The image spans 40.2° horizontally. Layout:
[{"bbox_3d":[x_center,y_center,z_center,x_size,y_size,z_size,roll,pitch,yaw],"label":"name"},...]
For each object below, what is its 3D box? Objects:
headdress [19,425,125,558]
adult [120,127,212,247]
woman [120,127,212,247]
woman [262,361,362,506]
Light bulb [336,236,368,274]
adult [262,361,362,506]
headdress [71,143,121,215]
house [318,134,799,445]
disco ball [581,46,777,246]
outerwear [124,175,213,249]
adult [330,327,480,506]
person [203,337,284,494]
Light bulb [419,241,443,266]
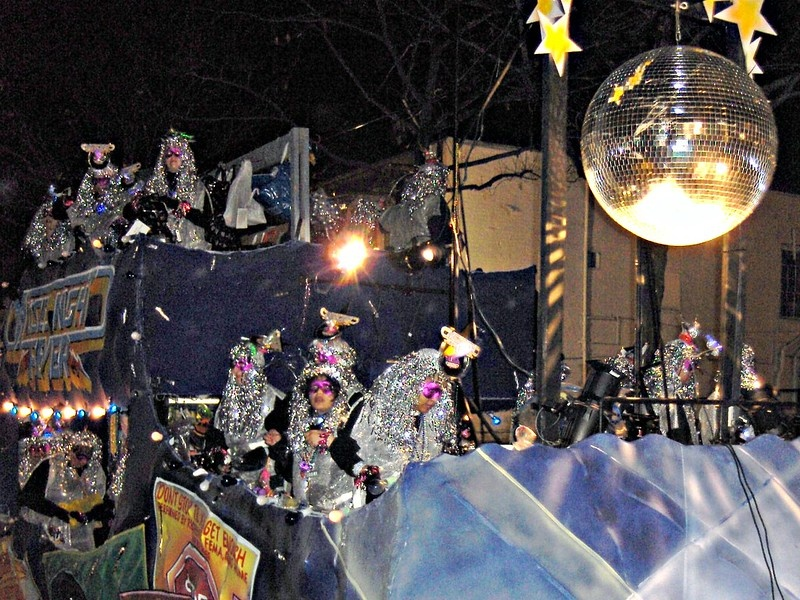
[{"bbox_3d":[-3.602,2.112,11.757,0.917,1.471,0.813,-2,-42,-18],"label":"headdress"},{"bbox_3d":[-2.678,-1.075,12.826,0.786,0.714,1.922,-2,-50,-8],"label":"adult"},{"bbox_3d":[-2.696,-1.088,12.848,0.812,0.674,1.912,-6,-48,-11],"label":"woman"},{"bbox_3d":[-0.904,1.553,10.979,1.025,0.711,2.085,6,-53,-2],"label":"woman"},{"bbox_3d":[-0.558,-0.555,12.341,0.334,0.380,0.380,9,25,-25],"label":"Light bulb"},{"bbox_3d":[-0.889,1.540,10.948,1.025,0.756,2.105,9,-53,2],"label":"adult"},{"bbox_3d":[-3.653,-1.433,13.137,0.529,0.873,0.575,0,-7,-19],"label":"headdress"},{"bbox_3d":[3.984,-0.917,21.080,5.938,4.076,5.698,2,-2,-41],"label":"house"},{"bbox_3d":[2.457,-1.219,9.126,1.403,1.791,1.486,5,-8,1],"label":"disco ball"},{"bbox_3d":[-2.613,-0.875,12.268,0.738,0.394,0.759,23,7,43],"label":"outerwear"},{"bbox_3d":[0.020,1.119,10.298,0.713,1.748,0.818,14,-19,17],"label":"adult"},{"bbox_3d":[-1.562,1.125,11.464,0.809,1.713,0.783,-13,22,-40],"label":"person"},{"bbox_3d":[0.314,-0.462,11.905,0.212,0.238,0.211,23,25,14],"label":"Light bulb"}]
